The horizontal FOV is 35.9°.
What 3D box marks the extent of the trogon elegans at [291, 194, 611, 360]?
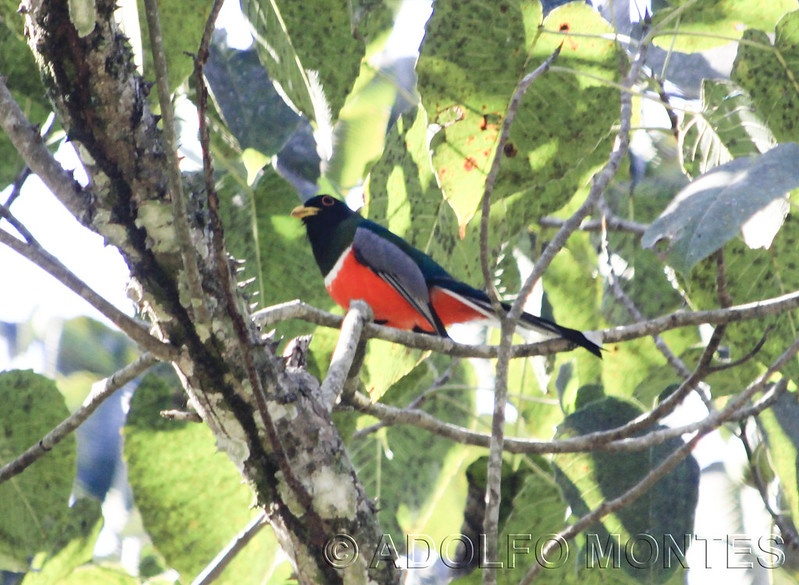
[{"bbox_3d":[0.180,-0.075,7.229,1.710,0.767,0.451,9,-18,-12],"label":"trogon elegans"}]
